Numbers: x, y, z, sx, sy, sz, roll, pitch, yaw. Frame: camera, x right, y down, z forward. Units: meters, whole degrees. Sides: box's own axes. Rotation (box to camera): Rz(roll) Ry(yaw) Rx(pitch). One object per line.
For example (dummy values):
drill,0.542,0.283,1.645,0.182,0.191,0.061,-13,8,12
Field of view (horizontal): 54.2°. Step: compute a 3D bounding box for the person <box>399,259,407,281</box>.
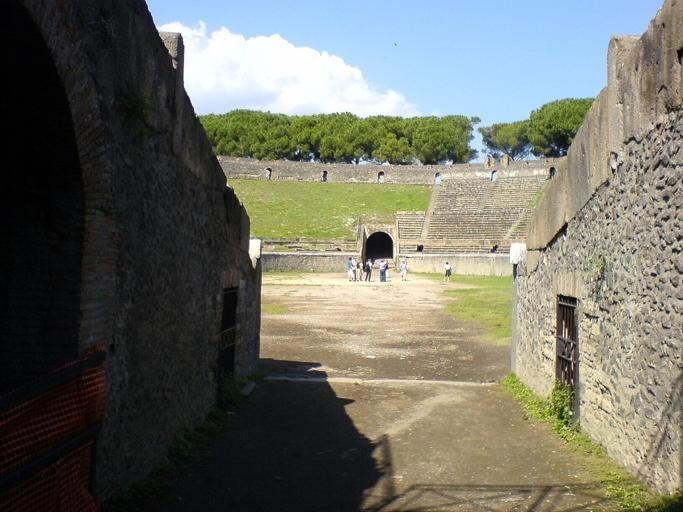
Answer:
person,3.531,0.904,37.970,0.447,1.516,0.410,-2,-4,11
